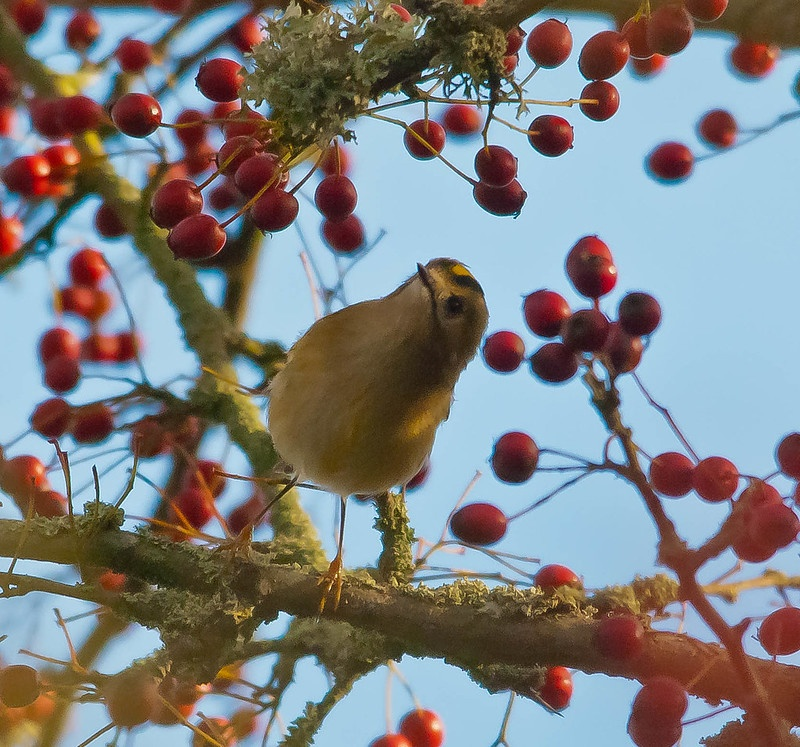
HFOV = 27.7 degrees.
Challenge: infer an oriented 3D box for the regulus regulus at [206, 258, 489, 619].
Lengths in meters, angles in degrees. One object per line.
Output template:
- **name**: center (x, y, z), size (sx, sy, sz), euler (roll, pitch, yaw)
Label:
- **regulus regulus**: center (-0.112, -0.010, 3.734), size (0.393, 0.735, 0.910), euler (18, -71, -18)
